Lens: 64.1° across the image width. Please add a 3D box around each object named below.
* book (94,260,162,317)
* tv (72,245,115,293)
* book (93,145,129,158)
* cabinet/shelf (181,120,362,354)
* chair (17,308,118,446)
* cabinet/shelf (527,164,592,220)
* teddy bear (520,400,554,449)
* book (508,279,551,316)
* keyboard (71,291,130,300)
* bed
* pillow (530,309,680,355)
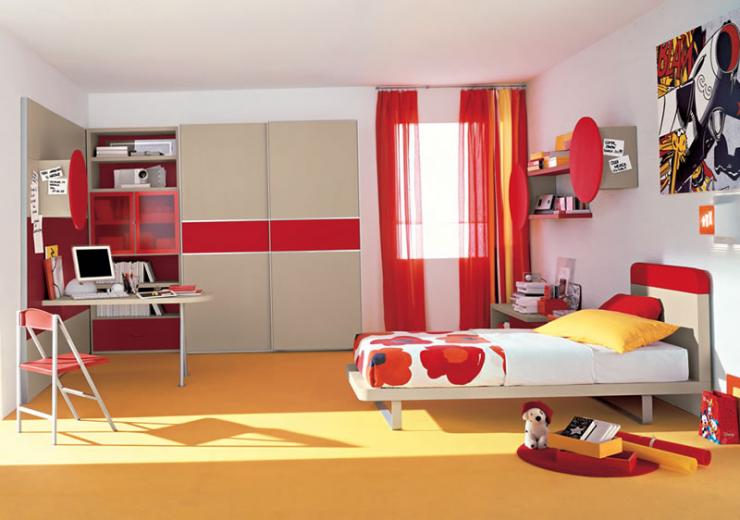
[{"bbox_3d":[-2.661,0.328,6.435,0.692,0.621,0.247,0,-3,-6],"label":"book"},{"bbox_3d":[-2.761,0.079,5.865,0.181,0.501,0.517,-18,-12,39],"label":"tv"},{"bbox_3d":[-2.994,-1.264,6.912,0.216,0.070,0.210,-1,2,-2],"label":"book"},{"bbox_3d":[-1.211,-0.321,6.808,2.741,3.305,1.005,0,4,2],"label":"cabinet/shelf"},{"bbox_3d":[-2.426,0.887,4.744,0.673,0.933,0.635,1,-1,-40],"label":"chair"},{"bbox_3d":[2.023,-0.711,6.269,0.359,0.451,0.696,-6,6,-27],"label":"cabinet/shelf"},{"bbox_3d":[1.157,1.149,4.166,0.226,0.315,0.169,5,10,35],"label":"teddy bear"},{"bbox_3d":[1.691,0.379,6.304,0.339,0.319,0.459,0,1,-3],"label":"book"},{"bbox_3d":[-2.567,0.336,5.576,0.521,0.036,0.279,-3,9,-17],"label":"keyboard"},{"bbox_3d":[1.457,0.713,4.894,2.084,0.842,1.482,-1,0,-5],"label":"bed"},{"bbox_3d":[1.951,0.578,4.954,0.672,0.229,0.937,-10,3,-24],"label":"pillow"}]
